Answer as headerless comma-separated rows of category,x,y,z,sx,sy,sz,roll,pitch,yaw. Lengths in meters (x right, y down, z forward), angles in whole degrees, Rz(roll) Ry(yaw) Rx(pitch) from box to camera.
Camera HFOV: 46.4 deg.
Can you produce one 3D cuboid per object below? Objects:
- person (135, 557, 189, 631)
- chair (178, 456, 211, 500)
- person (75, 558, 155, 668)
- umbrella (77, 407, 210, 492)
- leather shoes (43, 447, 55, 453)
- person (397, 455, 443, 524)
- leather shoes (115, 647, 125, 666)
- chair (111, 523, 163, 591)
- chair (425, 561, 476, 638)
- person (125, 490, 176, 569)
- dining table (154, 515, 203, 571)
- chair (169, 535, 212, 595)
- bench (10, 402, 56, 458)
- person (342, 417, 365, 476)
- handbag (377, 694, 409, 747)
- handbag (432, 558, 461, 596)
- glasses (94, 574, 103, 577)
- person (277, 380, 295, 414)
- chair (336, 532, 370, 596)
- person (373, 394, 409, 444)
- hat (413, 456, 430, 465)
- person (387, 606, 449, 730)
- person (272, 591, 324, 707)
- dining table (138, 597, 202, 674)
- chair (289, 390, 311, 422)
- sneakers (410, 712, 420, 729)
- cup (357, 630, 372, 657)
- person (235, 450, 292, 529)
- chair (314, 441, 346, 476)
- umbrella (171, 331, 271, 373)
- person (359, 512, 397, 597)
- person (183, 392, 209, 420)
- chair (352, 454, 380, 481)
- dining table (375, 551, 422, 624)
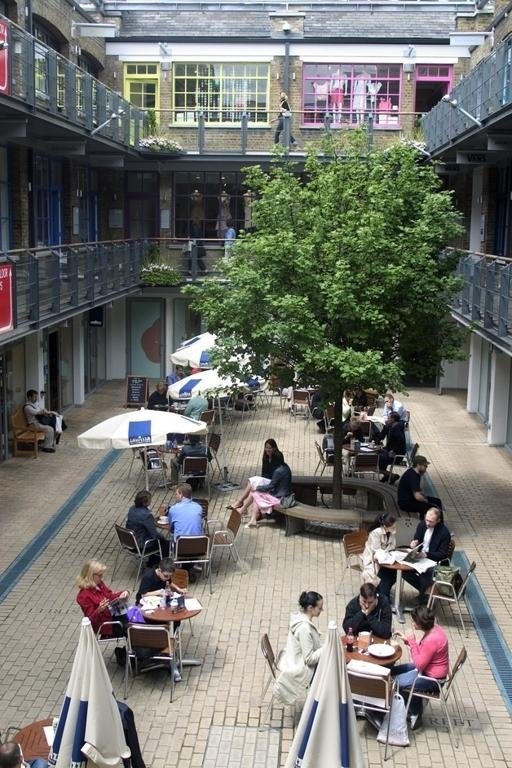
person,-1.157,2.511,6.999,0.509,0.981,0.468,13,12,25
chair,-1.321,2.027,12.909,0.585,1.113,0.746,-1,48,-4
person,-1.470,2.397,6.227,0.532,1.155,0.536,-11,10,9
umbrella,-2.374,1.305,11.644,1.290,0.954,1.270,-5,10,-20
leather shoes,-5.786,1.847,16.720,0.277,0.131,0.116,0,9,2
person,3.004,2.062,10.901,0.822,1.486,0.657,-2,6,5
leather shoes,-1.527,3.073,6.716,0.078,0.144,0.257,19,18,-17
chair,-1.952,2.576,9.026,0.552,0.834,0.558,-6,-27,32
chair,2.558,2.854,8.137,0.488,0.772,0.429,4,6,25
person,-1.644,2.326,9.340,0.727,1.454,0.546,-2,11,-24
dining table,-1.307,2.482,9.688,0.716,0.930,0.742,-2,15,-8
chair,-0.911,2.813,8.913,0.572,0.932,0.717,6,41,0
bench,-6.275,1.291,16.675,0.743,1.198,1.705,0,3,-13
person,2.477,1.681,15.461,0.640,1.845,0.569,-10,25,-13
handbag,1.229,2.940,5.261,0.239,0.438,0.235,1,-4,21
handbag,2.615,2.677,8.150,0.442,0.516,0.394,1,2,22
glasses,-1.593,1.956,6.045,0.082,0.029,0.086,2,0,-26
person,1.230,0.547,23.297,0.709,1.310,0.885,1,-2,12
chair,1.516,2.661,8.944,0.537,0.749,0.555,-12,-11,-20
person,3.730,0.998,16.614,0.998,1.620,0.697,-8,29,5
hat,3.074,1.454,11.054,0.247,0.150,0.185,-6,15,-21
person,1.519,2.624,5.492,0.503,1.068,0.414,-1,-3,21
person,0.416,2.406,5.430,0.555,1.020,0.414,3,6,-29
dining table,-0.899,2.588,6.438,0.715,0.823,0.771,-1,6,1
chair,1.610,0.765,21.728,0.752,1.410,0.984,3,37,6
sneakers,1.480,3.133,5.540,0.063,0.175,0.056,5,3,0
cup,1.010,2.409,5.514,0.139,0.156,0.107,1,7,17
person,0.132,1.996,11.898,1.094,1.758,0.664,4,12,-4
chair,1.928,1.886,15.470,0.824,1.295,0.797,-1,17,4
umbrella,-0.859,-0.737,14.192,1.594,0.780,1.642,-3,8,-16
person,1.735,2.397,8.203,0.534,1.314,0.520,-5,11,-19
person,-1.568,0.569,15.728,0.577,0.888,0.490,7,8,-8
chair,2.561,1.921,13.906,0.457,0.873,0.641,1,47,3
dining table,1.957,2.808,8.223,0.586,0.644,0.624,5,-2,-5
